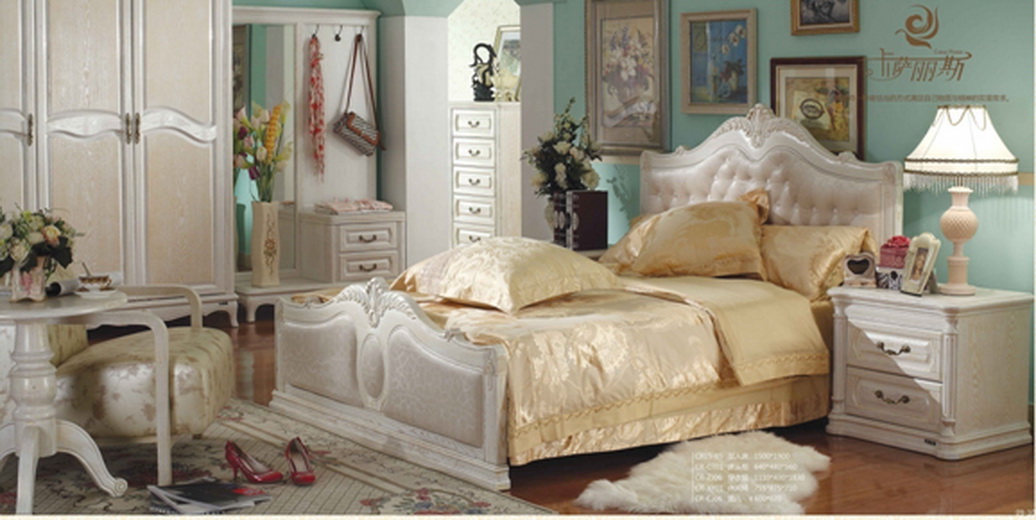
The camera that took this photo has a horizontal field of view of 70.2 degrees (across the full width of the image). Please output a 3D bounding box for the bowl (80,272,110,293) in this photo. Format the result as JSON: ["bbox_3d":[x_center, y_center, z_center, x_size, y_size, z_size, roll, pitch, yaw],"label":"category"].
[{"bbox_3d":[-2.680,0.152,4.669,0.152,0.068,0.133,-7,5,-24],"label":"bowl"}]

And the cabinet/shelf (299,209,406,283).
[{"bbox_3d":[-2.019,-0.305,8.591,1.371,0.805,0.895,-4,7,-37],"label":"cabinet/shelf"}]

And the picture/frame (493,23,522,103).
[{"bbox_3d":[-0.141,-2.325,8.710,0.289,0.885,0.440,-2,12,-4],"label":"picture/frame"}]

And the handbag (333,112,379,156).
[{"bbox_3d":[-1.864,-1.464,8.587,0.594,0.179,0.393,29,39,-18],"label":"handbag"}]

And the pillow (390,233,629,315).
[{"bbox_3d":[0.054,-0.011,5.287,0.958,0.249,0.841,-6,9,-44],"label":"pillow"}]

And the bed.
[{"bbox_3d":[0.522,0.208,5.811,4.023,1.970,2.990,-4,8,-29],"label":"bed"}]

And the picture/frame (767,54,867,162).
[{"bbox_3d":[2.480,-1.224,6.032,1.115,1.009,0.089,5,9,42],"label":"picture/frame"}]

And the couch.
[{"bbox_3d":[-2.581,0.722,5.092,1.553,1.036,1.272,-1,10,-9],"label":"couch"}]

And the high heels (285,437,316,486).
[{"bbox_3d":[-1.431,1.331,4.815,0.159,0.130,0.372,-10,42,-22],"label":"high heels"}]

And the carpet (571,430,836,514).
[{"bbox_3d":[1.273,1.402,4.882,1.599,0.158,1.028,1,10,10],"label":"carpet"}]
